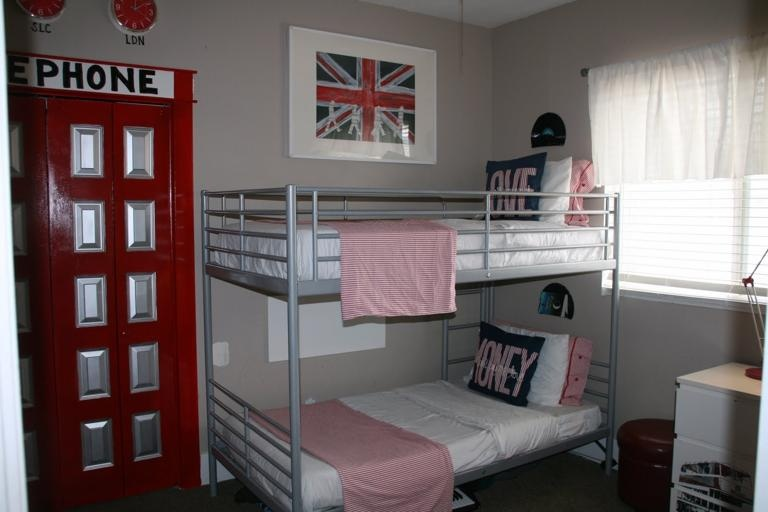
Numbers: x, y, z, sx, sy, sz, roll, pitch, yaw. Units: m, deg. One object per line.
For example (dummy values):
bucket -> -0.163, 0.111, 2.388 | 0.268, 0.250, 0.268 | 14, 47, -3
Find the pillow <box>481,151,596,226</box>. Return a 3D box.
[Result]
pillow -> 1.226, -0.506, 4.617 | 0.730, 0.646, 0.226 | -1, -8, 32
